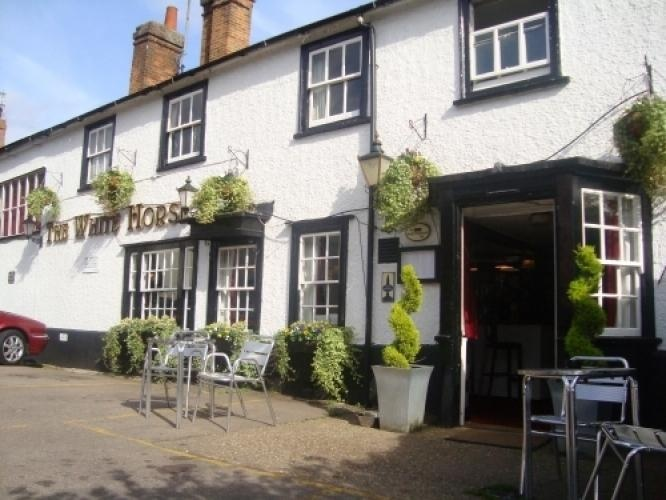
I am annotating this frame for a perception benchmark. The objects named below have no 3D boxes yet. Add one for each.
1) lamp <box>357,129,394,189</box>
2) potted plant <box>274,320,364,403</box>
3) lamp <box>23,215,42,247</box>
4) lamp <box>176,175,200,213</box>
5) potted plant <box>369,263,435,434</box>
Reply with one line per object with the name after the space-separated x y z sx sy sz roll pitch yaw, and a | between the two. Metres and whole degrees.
0.693 -1.381 9.741 0.582 0.731 0.444 3 1 32 | lamp
-0.149 1.838 10.620 1.116 1.520 1.509 2 -3 -41 | potted plant
-7.932 -0.481 16.583 0.528 0.785 0.449 3 1 37 | lamp
-2.835 -1.096 12.316 0.384 0.513 0.762 3 0 -14 | lamp
0.937 1.333 8.567 0.769 2.046 0.352 3 1 9 | potted plant
